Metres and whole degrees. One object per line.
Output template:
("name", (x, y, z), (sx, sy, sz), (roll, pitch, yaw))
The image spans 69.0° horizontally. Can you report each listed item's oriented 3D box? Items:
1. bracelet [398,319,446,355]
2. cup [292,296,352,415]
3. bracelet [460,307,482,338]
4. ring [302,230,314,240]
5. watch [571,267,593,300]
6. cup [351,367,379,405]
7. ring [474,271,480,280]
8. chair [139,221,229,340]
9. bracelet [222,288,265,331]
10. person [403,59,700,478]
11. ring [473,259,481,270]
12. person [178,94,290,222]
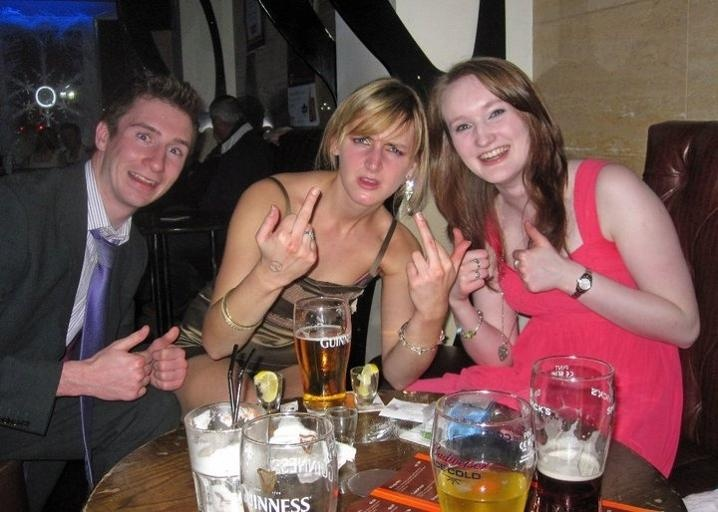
("bracelet", (0.228, 0.288, 1.890), (0.175, 0.121, 0.107), (-1, 6, -12))
("cup", (-0.101, 0.259, 1.437), (0.169, 0.296, 0.168), (0, 8, 0))
("bracelet", (0.453, 0.261, 2.087), (0.085, 0.106, 0.036), (19, 2, -35))
("ring", (-0.163, -0.070, 1.701), (0.024, 0.016, 0.032), (9, 1, -15))
("watch", (0.772, 0.097, 1.841), (0.059, 0.097, 0.089), (30, -8, 11))
("cup", (0.014, 0.389, 1.565), (0.093, 0.110, 0.097), (-2, -1, 0))
("ring", (0.442, 0.074, 1.946), (0.021, 0.018, 0.023), (0, 17, 0))
("chair", (-1.068, 0.087, 2.987), (0.402, 0.483, 0.422), (-2, -6, 33))
("bracelet", (-0.424, 0.187, 1.853), (0.152, 0.155, 0.088), (-1, 6, -4))
("person", (0.683, 0.208, 2.126), (1.069, 1.864, 0.929), (-3, 1, 1))
("ring", (0.439, 0.028, 1.950), (0.025, 0.030, 0.011), (-13, -1, -31))
("person", (-1.093, -0.667, 4.706), (0.704, 1.432, 0.806), (20, 28, 28))
